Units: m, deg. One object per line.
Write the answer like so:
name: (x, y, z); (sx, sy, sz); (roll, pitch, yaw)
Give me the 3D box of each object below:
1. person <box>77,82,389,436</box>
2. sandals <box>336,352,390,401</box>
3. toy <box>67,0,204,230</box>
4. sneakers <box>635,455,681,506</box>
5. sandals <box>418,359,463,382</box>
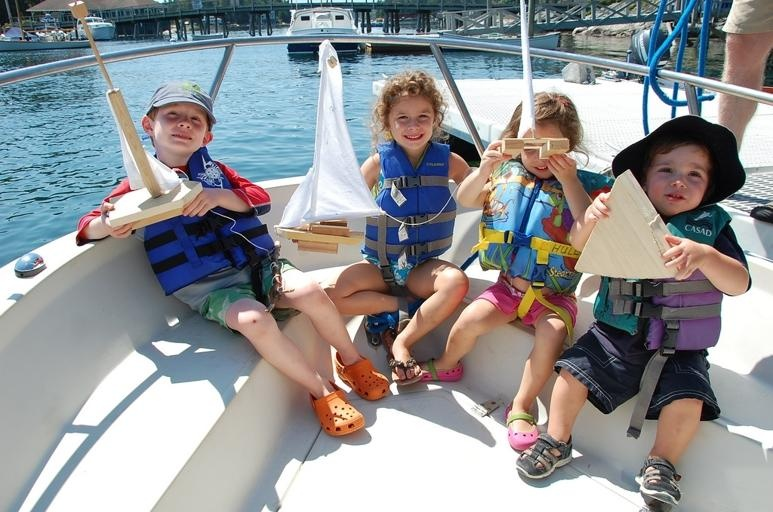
person: (-0.613, -0.016, 2.018); (1.358, 1.188, 0.822); (23, 34, 29)
sandals: (-0.107, 0.539, 2.199); (0.120, 0.100, 0.273); (-15, 26, -34)
toy: (-0.887, -0.463, 1.714); (0.326, 0.753, 0.230); (-10, 25, -12)
sneakers: (0.983, 0.792, 1.761); (0.099, 0.096, 0.218); (22, -2, 19)
sandals: (0.257, 0.517, 2.258); (0.169, 0.062, 0.092); (3, 8, 7)
